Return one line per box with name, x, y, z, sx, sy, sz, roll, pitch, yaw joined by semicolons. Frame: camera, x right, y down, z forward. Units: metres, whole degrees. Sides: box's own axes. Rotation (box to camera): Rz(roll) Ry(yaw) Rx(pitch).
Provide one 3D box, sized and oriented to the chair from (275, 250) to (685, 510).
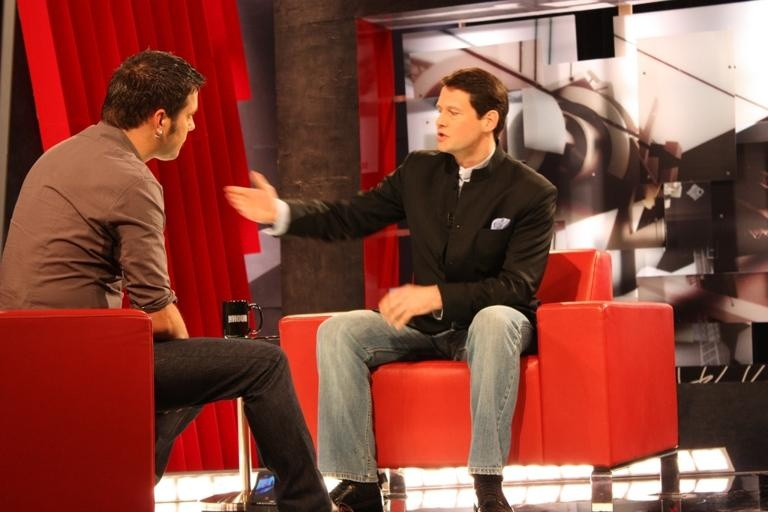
chair;0.449;0.576;2.882;1.640;1.088;0.911;-5;-10;28
